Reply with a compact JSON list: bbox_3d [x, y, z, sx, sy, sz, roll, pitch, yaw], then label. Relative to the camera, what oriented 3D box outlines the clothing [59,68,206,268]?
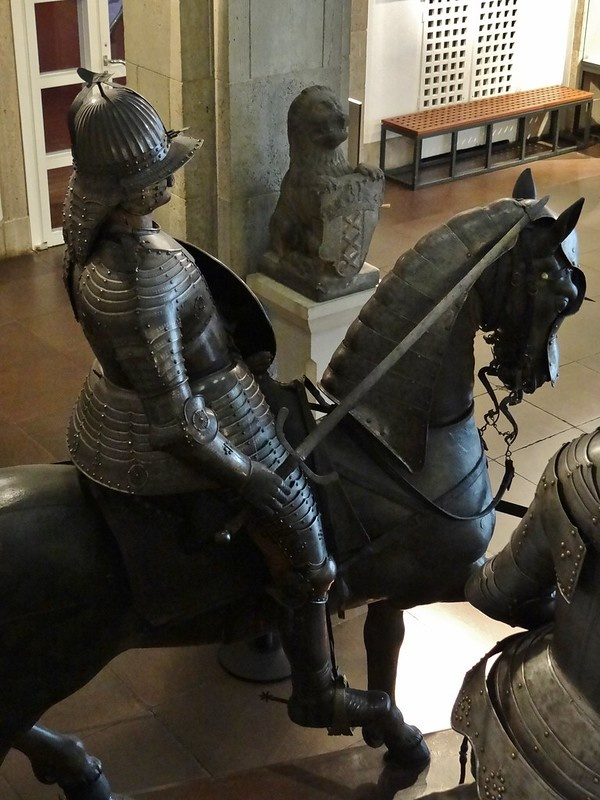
[{"bbox_3d":[-0.334,-0.466,1.429,0.302,0.340,0.262,-13,38,-18],"label":"clothing"}]

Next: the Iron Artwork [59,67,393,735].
[{"bbox_3d":[-0.138,0.092,1.688,0.776,1.493,0.566,-1,10,-7],"label":"Iron Artwork"}]
